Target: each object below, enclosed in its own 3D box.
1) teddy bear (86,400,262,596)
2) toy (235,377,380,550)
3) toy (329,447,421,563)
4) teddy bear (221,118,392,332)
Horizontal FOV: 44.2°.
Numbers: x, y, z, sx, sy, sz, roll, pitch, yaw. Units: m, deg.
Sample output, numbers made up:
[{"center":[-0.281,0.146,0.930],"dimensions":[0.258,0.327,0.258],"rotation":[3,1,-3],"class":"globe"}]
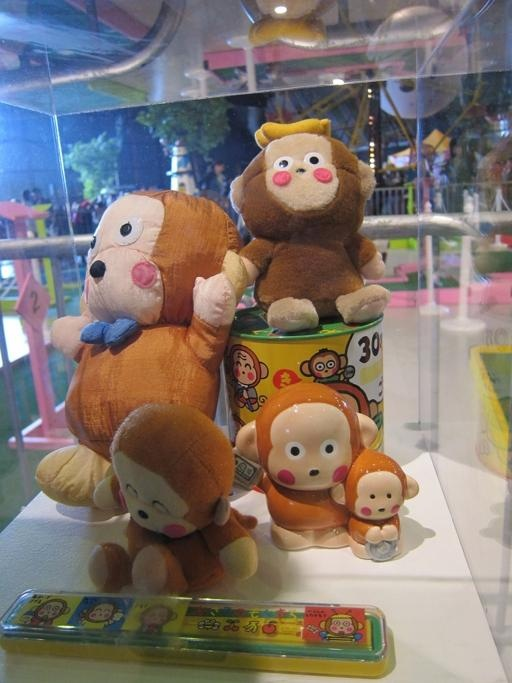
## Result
[{"center":[-0.146,0.275,1.091],"dimensions":[0.283,0.245,0.206],"rotation":[18,21,39],"class":"teddy bear"},{"center":[0.097,0.238,1.196],"dimensions":[0.359,0.323,0.197],"rotation":[-2,9,-3],"class":"toy"},{"center":[0.235,0.301,1.187],"dimensions":[0.149,0.182,0.104],"rotation":[-12,17,-23],"class":"toy"},{"center":[0.126,-0.267,1.400],"dimensions":[0.335,0.442,0.360],"rotation":[-6,15,0],"class":"teddy bear"}]
